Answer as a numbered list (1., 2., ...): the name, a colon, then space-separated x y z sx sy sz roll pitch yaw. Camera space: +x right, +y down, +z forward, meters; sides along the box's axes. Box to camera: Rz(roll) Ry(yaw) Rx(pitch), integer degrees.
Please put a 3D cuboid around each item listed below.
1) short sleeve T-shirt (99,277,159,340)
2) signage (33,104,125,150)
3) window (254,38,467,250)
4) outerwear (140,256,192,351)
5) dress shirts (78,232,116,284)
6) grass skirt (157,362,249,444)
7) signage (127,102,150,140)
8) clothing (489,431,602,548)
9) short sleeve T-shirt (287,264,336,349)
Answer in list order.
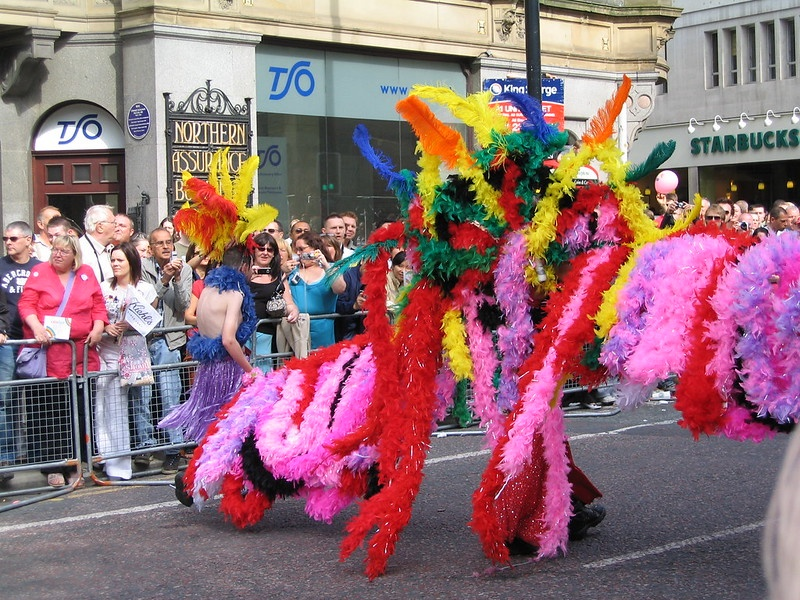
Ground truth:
1. short sleeve T-shirt: -2.169 0.067 8.511 0.524 0.470 0.181 1 28 1
2. signage: -4.737 -2.567 15.343 1.421 0.753 0.040 -11 33 -42
3. window: -0.765 -2.526 16.498 4.826 3.142 0.064 10 24 36
4. outerwear: -2.129 0.035 9.322 0.527 0.738 0.442 4 3 17
5. dress shirts: -2.609 -0.351 8.900 0.249 0.430 0.427 -10 2 26
6. grass skirt: -1.488 0.694 7.823 0.561 0.721 0.374 4 36 -33
7. signage: -3.706 -2.552 14.764 0.607 0.614 0.088 2 2 42
8. clothing: 0.995 1.220 6.621 0.704 0.317 0.624 -2 46 -7
9. short sleeve T-shirt: -0.801 0.175 9.609 0.521 0.889 0.383 -2 5 -10
